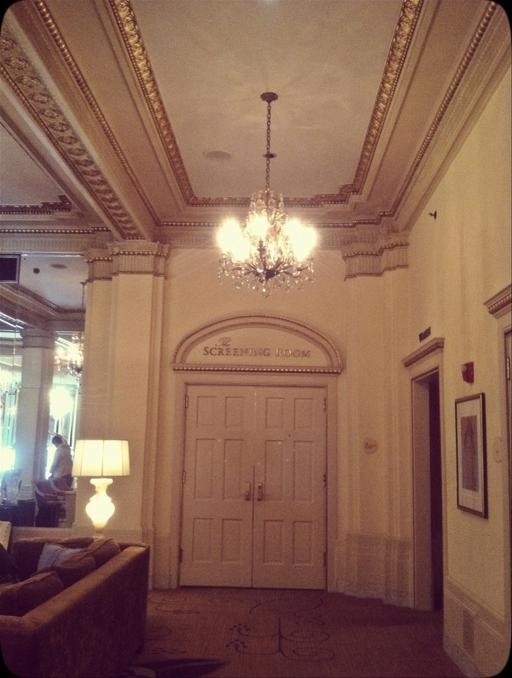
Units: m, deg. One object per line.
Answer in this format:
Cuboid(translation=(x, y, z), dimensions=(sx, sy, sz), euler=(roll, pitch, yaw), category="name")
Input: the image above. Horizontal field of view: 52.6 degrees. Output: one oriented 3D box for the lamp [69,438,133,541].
Cuboid(translation=(-1.567, 1.481, 5.226), dimensions=(0.518, 0.954, 1.111), euler=(6, -14, -14), category="lamp")
